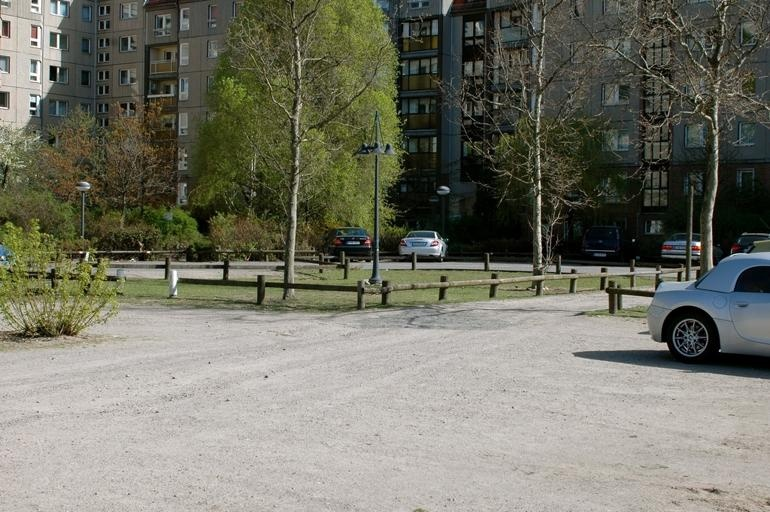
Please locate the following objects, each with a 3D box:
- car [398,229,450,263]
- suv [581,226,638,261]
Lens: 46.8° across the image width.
[{"bbox_3d":[1.877,-0.434,45.175,1.969,1.454,2.197,3,7,15],"label":"car"},{"bbox_3d":[12.303,-0.802,48.183,2.289,1.808,5.692,4,7,24],"label":"suv"}]
